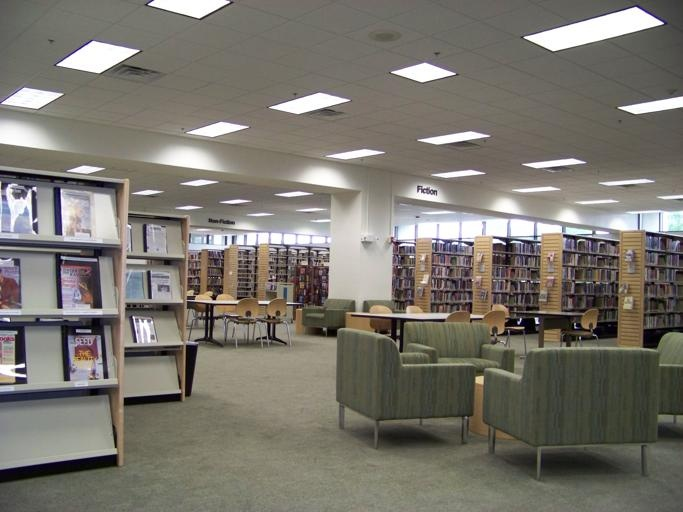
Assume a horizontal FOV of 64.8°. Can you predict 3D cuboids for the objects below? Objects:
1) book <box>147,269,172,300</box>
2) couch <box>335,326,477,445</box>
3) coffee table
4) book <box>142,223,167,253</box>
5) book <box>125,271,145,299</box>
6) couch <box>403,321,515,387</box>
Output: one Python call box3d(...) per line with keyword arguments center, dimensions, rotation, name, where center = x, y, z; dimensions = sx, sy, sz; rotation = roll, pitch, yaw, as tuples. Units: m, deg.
box3d(center=(-2.152, 0.336, 6.363), dimensions=(0.077, 0.314, 0.340), rotation=(-12, -16, 41), name="book")
box3d(center=(0.649, 1.152, 5.696), dimensions=(1.212, 1.176, 1.252), rotation=(1, -1, -21), name="couch")
box3d(center=(1.546, 1.615, 5.621), dimensions=(0.548, 0.417, 0.587), rotation=(1, -3, -4), name="coffee table")
box3d(center=(-2.245, -0.211, 6.372), dimensions=(0.333, 0.409, 0.048), rotation=(12, -23, -44), name="book")
box3d(center=(-2.386, 0.335, 6.143), dimensions=(0.038, 0.350, 0.281), rotation=(-17, -23, 40), name="book")
box3d(center=(1.460, 1.098, 6.828), dimensions=(1.299, 0.818, 0.685), rotation=(3, -6, -21), name="couch")
